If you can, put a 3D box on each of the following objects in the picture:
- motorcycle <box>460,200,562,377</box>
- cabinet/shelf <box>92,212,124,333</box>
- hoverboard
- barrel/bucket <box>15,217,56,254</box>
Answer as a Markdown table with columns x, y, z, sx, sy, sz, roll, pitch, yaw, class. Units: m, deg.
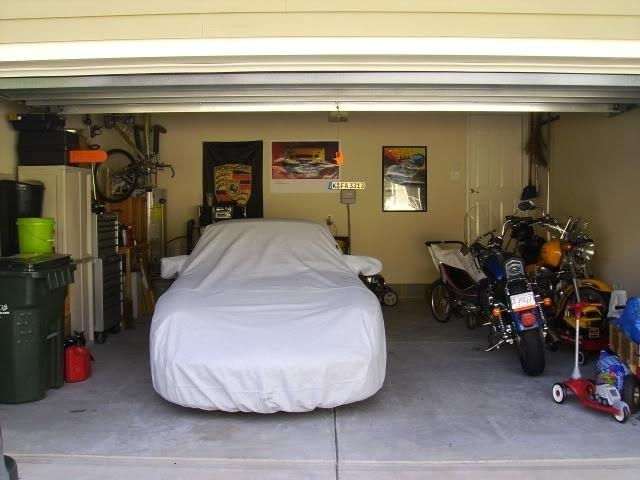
| x | y | z | sx | sy | sz | roll | pitch | yaw | class |
| --- | --- | --- | --- | --- | --- | --- | --- | --- | --- |
| 2.235 | 0.487 | 5.501 | 0.796 | 1.253 | 1.830 | -1 | 7 | 4 | motorcycle |
| -2.466 | 0.351 | 6.054 | 0.308 | 1.136 | 0.405 | 3 | 8 | -10 | cabinet/shelf |
| 2.250 | 0.944 | 4.190 | 0.454 | 0.825 | 0.575 | -8 | 12 | -39 | hoverboard |
| -2.540 | -0.044 | 4.746 | 0.332 | 0.308 | 0.325 | 0 | 2 | 0 | barrel/bucket |
